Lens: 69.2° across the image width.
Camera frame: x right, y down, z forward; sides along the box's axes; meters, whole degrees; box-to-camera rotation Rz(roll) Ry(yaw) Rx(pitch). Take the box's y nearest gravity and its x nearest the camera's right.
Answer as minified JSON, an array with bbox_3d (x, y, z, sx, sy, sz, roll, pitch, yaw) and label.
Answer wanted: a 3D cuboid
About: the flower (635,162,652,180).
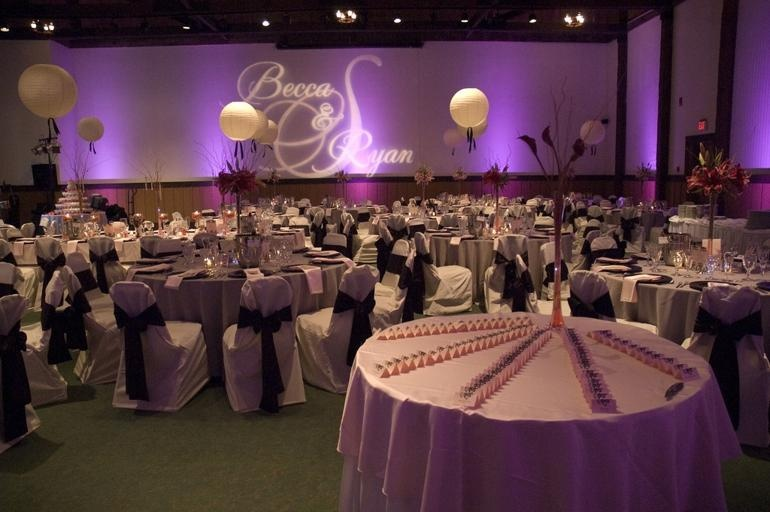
[{"bbox_3d":[6.656,-2.157,14.265,0.379,0.446,0.776,2,9,25],"label":"flower"}]
